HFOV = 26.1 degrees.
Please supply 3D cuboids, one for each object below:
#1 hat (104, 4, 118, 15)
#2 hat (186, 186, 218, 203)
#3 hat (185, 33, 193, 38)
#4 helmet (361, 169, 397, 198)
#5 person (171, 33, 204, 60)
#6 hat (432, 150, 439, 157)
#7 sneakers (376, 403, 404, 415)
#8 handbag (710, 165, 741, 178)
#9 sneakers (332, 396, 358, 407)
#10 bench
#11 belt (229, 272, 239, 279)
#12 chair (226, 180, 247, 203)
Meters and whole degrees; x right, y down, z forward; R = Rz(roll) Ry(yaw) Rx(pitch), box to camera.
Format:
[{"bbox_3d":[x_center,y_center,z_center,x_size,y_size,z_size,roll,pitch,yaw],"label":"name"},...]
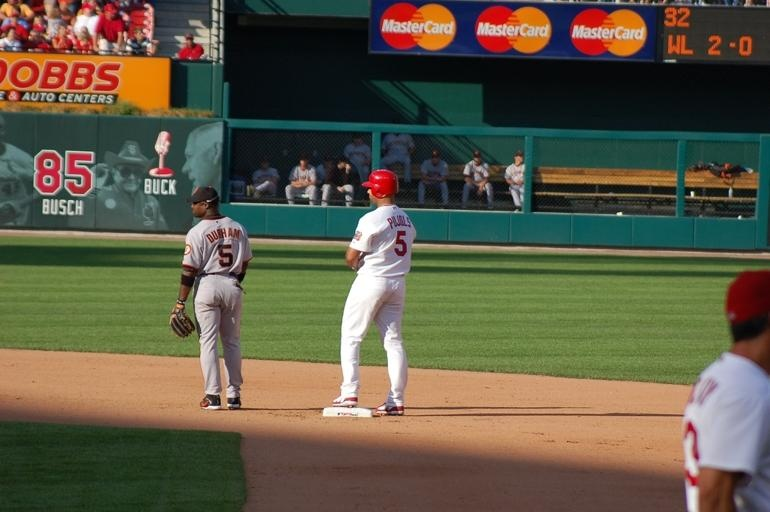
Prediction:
[{"bbox_3d":[-7.960,-7.351,48.902,0.437,0.353,0.360,-2,6,-38],"label":"hat"},{"bbox_3d":[-3.630,-1.291,34.084,0.472,0.254,0.342,-2,1,-3],"label":"hat"},{"bbox_3d":[-5.823,-6.720,50.043,0.223,0.111,0.325,0,8,-4],"label":"hat"},{"bbox_3d":[-0.023,-1.510,34.130,0.664,0.520,0.498,8,6,20],"label":"helmet"},{"bbox_3d":[-5.873,-6.288,49.929,0.712,0.933,1.024,0,-3,-6],"label":"person"},{"bbox_3d":[1.505,-2.954,47.354,0.215,0.275,0.318,2,5,0],"label":"hat"},{"bbox_3d":[0.137,3.125,33.975,0.525,0.230,0.229,3,-3,10],"label":"sneakers"},{"bbox_3d":[9.621,-2.445,46.879,0.817,0.431,0.139,3,5,7],"label":"handbag"},{"bbox_3d":[-0.775,2.982,34.050,0.518,0.284,0.195,3,-3,13],"label":"sneakers"},{"bbox_3d":[5.890,-2.025,47.167,9.365,1.580,0.436,2,5,2],"label":"bench"},{"bbox_3d":[-3.042,0.371,33.925,0.207,0.119,0.156,-11,16,-33],"label":"belt"},{"bbox_3d":[-4.170,-1.894,47.544,0.564,0.595,0.552,2,3,3],"label":"chair"}]
